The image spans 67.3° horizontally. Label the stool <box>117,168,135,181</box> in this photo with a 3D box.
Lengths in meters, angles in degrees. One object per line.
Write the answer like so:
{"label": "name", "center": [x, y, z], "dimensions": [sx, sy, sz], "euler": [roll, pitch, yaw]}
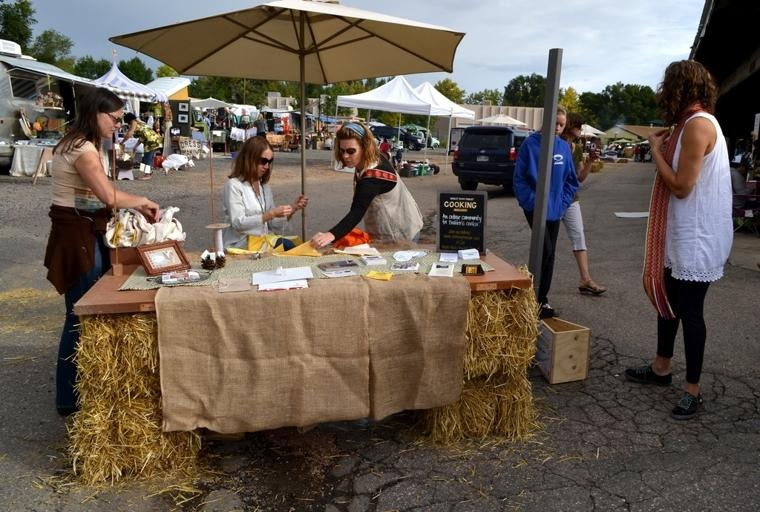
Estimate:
{"label": "stool", "center": [-7.088, -2.242, 15.869], "dimensions": [0.371, 0.275, 0.353], "euler": [-1, 7, -12]}

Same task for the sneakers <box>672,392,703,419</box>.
{"label": "sneakers", "center": [2.520, 1.224, 4.709], "dimensions": [0.366, 0.142, 0.131], "euler": [-8, 4, -38]}

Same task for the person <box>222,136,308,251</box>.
{"label": "person", "center": [-1.138, -0.595, 5.401], "dimensions": [0.763, 1.027, 0.588], "euler": [2, 13, 11]}

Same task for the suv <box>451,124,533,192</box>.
{"label": "suv", "center": [2.868, -2.627, 15.288], "dimensions": [1.440, 1.114, 2.667], "euler": [4, 18, 19]}

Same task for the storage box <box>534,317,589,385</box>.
{"label": "storage box", "center": [1.630, 0.883, 5.127], "dimensions": [0.373, 0.440, 0.663], "euler": [-3, 9, -5]}

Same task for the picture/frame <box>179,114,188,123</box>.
{"label": "picture/frame", "center": [-8.142, -5.673, 23.629], "dimensions": [0.369, 0.284, 0.035], "euler": [1, 5, -1]}

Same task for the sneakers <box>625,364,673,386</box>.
{"label": "sneakers", "center": [2.392, 1.088, 5.106], "dimensions": [0.424, 0.165, 0.161], "euler": [4, 8, 17]}

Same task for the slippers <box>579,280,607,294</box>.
{"label": "slippers", "center": [2.670, 0.400, 7.177], "dimensions": [0.340, 0.124, 0.139], "euler": [1, 5, 25]}

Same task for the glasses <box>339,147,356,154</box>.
{"label": "glasses", "center": [-0.277, -0.916, 5.012], "dimensions": [0.071, 0.020, 0.070], "euler": [3, -23, 9]}

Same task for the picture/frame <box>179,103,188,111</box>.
{"label": "picture/frame", "center": [-8.168, -6.157, 23.745], "dimensions": [0.472, 0.426, 0.044], "euler": [1, -1, 3]}

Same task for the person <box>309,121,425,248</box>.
{"label": "person", "center": [-0.155, -0.618, 5.142], "dimensions": [1.139, 1.110, 0.398], "euler": [-12, 17, -42]}

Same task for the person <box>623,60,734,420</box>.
{"label": "person", "center": [2.434, -0.134, 4.649], "dimensions": [0.567, 2.798, 0.655], "euler": [-12, 17, -41]}
